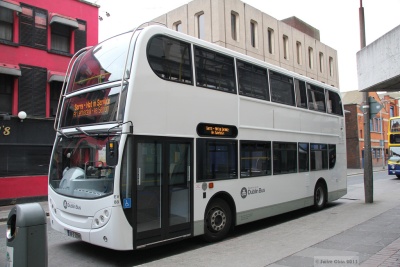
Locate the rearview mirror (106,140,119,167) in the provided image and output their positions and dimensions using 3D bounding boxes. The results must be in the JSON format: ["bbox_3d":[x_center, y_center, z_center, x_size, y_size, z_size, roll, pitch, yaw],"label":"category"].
[{"bbox_3d":[-2.339,0.514,8.065,0.356,0.715,0.227,-3,-2,40],"label":"rearview mirror"}]
